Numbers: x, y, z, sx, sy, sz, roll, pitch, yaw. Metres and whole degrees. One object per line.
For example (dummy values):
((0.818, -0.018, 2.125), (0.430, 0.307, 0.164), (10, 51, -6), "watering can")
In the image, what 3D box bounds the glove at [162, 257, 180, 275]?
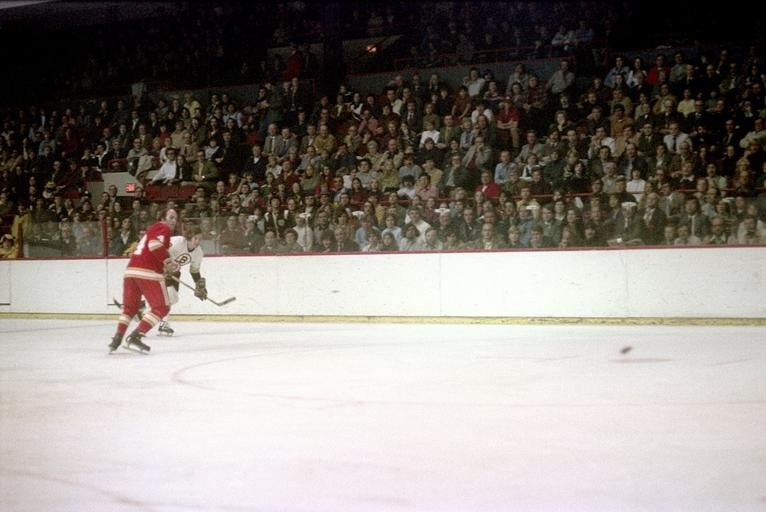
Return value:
((-3.921, 0.224, 15.452), (0.303, 0.124, 0.359), (-2, -39, -16), "glove")

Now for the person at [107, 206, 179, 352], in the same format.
((-4.071, 0.513, 14.156), (0.930, 2.442, 1.491), (-1, 14, 2), "person")

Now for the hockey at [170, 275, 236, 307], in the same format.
((-3.693, 0.715, 17.330), (1.444, 0.433, 0.138), (20, -20, 33), "hockey")

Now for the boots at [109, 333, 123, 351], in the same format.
((-4.497, 1.468, 14.024), (0.176, 0.086, 0.368), (37, -42, -5), "boots")

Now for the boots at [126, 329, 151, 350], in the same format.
((-4.087, 1.429, 13.832), (0.338, 0.370, 0.462), (-6, 14, -21), "boots")
